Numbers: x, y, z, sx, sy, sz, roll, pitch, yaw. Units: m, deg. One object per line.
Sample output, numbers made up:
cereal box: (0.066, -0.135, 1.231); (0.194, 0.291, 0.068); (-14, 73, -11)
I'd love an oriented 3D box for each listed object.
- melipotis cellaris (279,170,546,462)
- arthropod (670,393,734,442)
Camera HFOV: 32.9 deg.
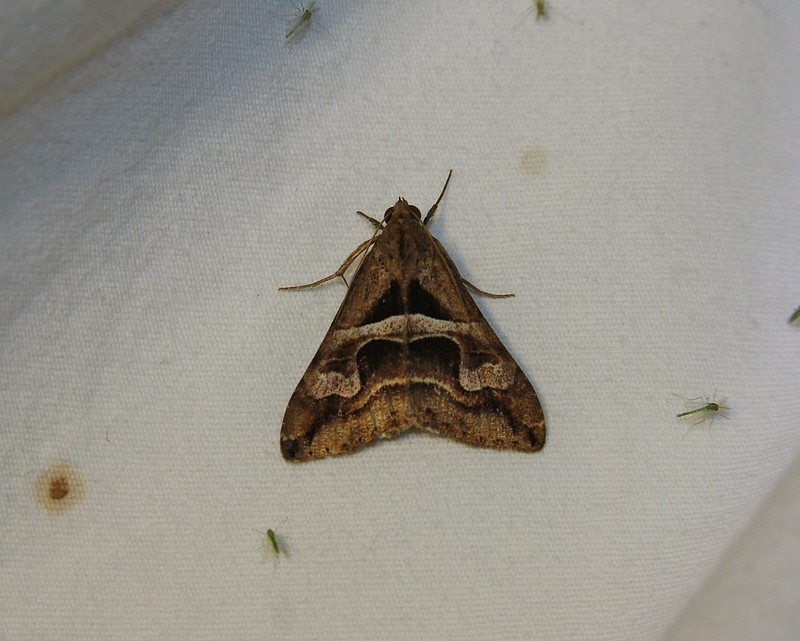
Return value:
melipotis cellaris: (0.080, 0.065, 8.710); (1.236, 1.612, 2.329); (3, 26, -8)
arthropod: (1.888, 0.579, 8.454); (0.226, 0.310, 0.359); (0, 8, 8)
